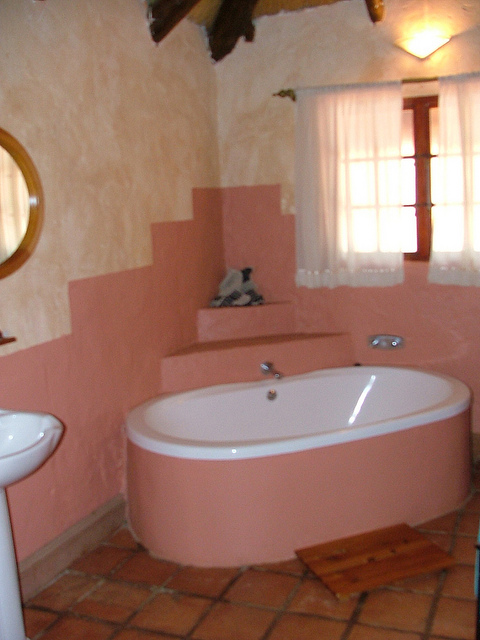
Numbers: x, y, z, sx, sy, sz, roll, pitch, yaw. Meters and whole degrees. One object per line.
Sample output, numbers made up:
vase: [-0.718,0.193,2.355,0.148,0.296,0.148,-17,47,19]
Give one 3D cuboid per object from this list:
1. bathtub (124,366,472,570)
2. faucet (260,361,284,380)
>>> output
bathtub: [0.293,0.622,2.487,1.638,0.568,0.842,-5,7,-18]
faucet: [0.175,0.275,2.880,0.074,0.063,0.141,12,-20,45]
